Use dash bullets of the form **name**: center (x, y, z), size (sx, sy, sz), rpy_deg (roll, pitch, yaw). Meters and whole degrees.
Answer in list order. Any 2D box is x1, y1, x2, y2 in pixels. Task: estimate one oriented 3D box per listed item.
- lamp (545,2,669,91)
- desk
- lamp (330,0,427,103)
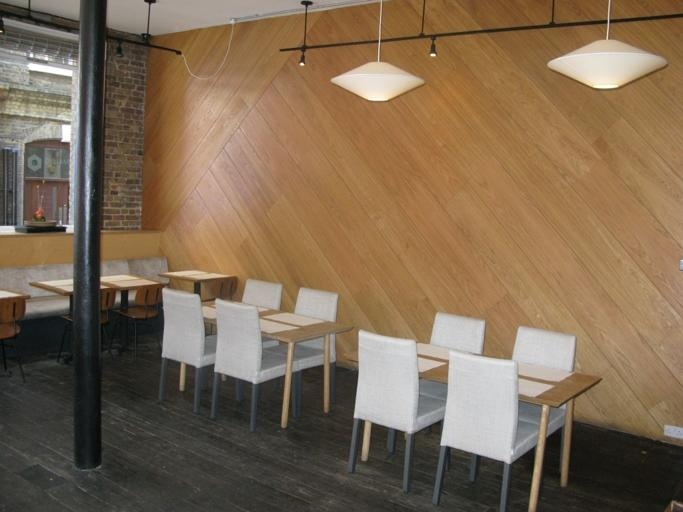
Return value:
- **lamp**: center (2.006, -1.621, 4.819), size (0.537, 0.571, 0.513), rpy_deg (2, 0, -26)
- **desk**: center (1.337, 1.436, 5.532), size (1.565, 1.002, 1.029), rpy_deg (8, 13, 28)
- **lamp**: center (0.256, -1.781, 5.772), size (0.642, 1.165, 0.670), rpy_deg (3, -3, -23)
